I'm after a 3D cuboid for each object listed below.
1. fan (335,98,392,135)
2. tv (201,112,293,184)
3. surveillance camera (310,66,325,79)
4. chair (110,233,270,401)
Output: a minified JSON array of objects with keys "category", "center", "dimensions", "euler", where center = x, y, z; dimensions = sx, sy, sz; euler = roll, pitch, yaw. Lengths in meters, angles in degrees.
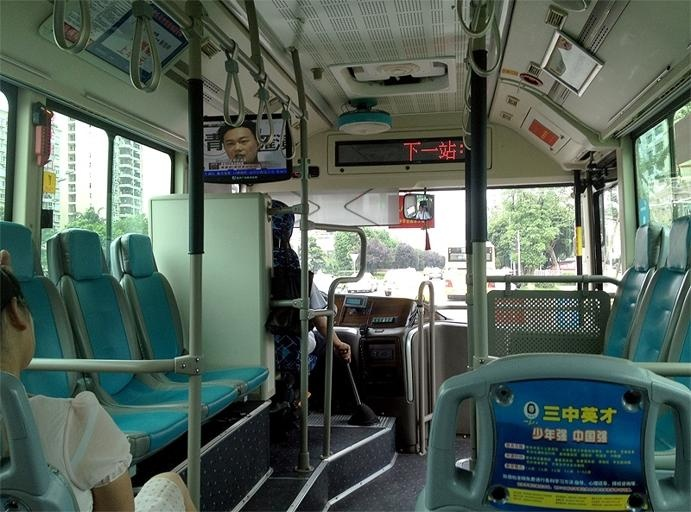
[{"category":"fan","center":[0.203,-1.512,5.789],"dimensions":[0.541,0.379,0.564],"euler":[-4,1,25]},{"category":"tv","center":[-0.734,-0.772,3.935],"dimensions":[0.779,0.595,0.084],"euler":[0,0,3]},{"category":"surveillance camera","center":[-0.251,-1.659,4.885],"dimensions":[0.090,0.061,0.090],"euler":[6,-10,-29]},{"category":"chair","center":[-1.051,0.415,3.647],"dimensions":[0.913,1.103,0.635],"euler":[0,3,8]}]
